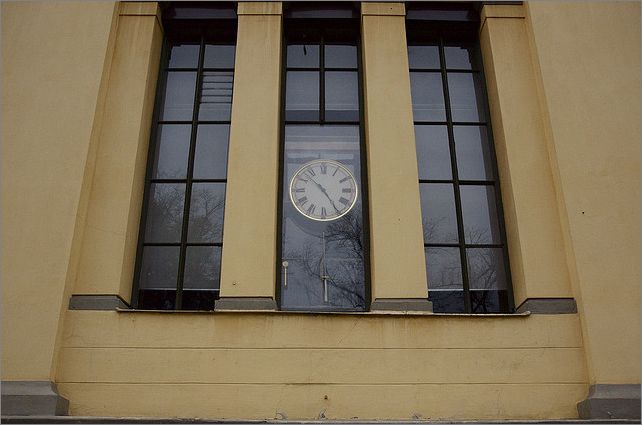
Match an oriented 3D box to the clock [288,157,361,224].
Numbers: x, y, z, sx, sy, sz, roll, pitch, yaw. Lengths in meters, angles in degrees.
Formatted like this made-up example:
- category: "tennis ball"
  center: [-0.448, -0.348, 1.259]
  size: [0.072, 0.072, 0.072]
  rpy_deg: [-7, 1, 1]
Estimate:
- category: "clock"
  center: [0.037, -0.375, 11.595]
  size: [1.170, 0.064, 1.255]
  rpy_deg: [0, -57, 1]
